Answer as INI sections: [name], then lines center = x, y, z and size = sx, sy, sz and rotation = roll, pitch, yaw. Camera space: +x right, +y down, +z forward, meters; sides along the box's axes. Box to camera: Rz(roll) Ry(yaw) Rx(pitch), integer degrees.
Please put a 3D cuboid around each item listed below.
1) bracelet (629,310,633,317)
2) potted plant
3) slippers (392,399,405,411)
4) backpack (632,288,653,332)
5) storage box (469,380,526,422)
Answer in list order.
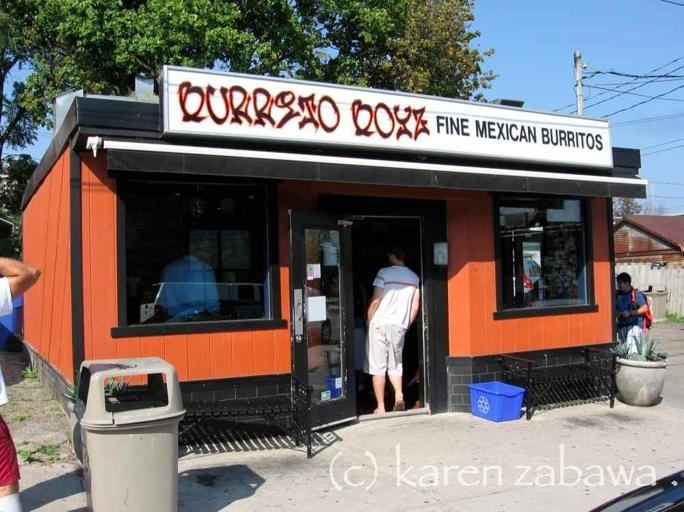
[bracelet]
center = 4.586, 0.902, 11.795
size = 0.050, 0.101, 0.054
rotation = 3, -7, -4
[potted plant]
center = 4.466, 1.695, 11.215
size = 0.908, 1.161, 0.891
rotation = -1, -3, 23
[slippers]
center = 0.810, 2.088, 10.418
size = 0.165, 0.209, 0.230
rotation = -1, 7, 2
[backpack]
center = 4.759, 0.883, 11.780
size = 0.305, 0.720, 0.719
rotation = 2, 7, 21
[storage box]
center = 2.090, 1.920, 10.096
size = 0.485, 0.388, 0.593
rotation = 1, 1, -31
